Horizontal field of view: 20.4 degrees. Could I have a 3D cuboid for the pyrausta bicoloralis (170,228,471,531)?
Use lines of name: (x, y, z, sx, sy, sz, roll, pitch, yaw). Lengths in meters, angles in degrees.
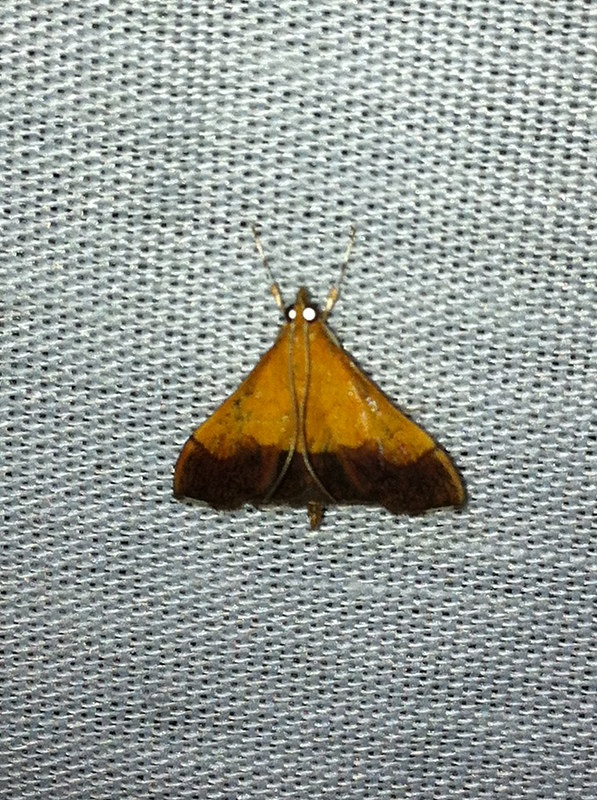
pyrausta bicoloralis: (0.006, -0.021, 1.455, 0.291, 0.066, 0.238, -1, -85, 4)
